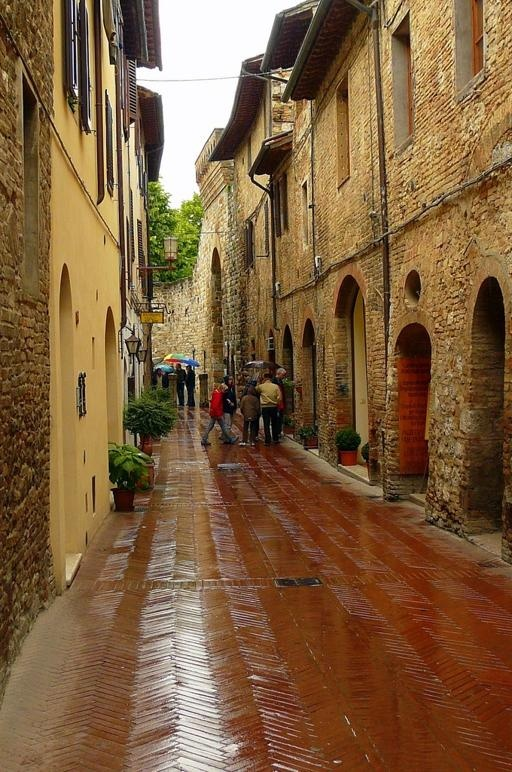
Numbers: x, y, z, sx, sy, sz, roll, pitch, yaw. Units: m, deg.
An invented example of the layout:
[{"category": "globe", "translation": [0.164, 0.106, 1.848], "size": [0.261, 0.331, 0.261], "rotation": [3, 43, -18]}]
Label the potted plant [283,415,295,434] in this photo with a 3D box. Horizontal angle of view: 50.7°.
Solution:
[{"category": "potted plant", "translation": [1.120, 1.321, 18.646], "size": [0.417, 0.622, 0.553], "rotation": [-1, 7, -1]}]

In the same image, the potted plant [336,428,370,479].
[{"category": "potted plant", "translation": [2.195, 1.475, 11.873], "size": [0.666, 1.044, 0.782], "rotation": [-2, 1, -17]}]

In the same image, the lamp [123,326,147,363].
[{"category": "lamp", "translation": [-3.376, -1.140, 14.935], "size": [0.576, 1.156, 1.865], "rotation": [-1, 1, 1]}]

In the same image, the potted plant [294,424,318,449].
[{"category": "potted plant", "translation": [1.496, 1.519, 15.541], "size": [0.598, 0.609, 0.327], "rotation": [-5, -8, 41]}]
